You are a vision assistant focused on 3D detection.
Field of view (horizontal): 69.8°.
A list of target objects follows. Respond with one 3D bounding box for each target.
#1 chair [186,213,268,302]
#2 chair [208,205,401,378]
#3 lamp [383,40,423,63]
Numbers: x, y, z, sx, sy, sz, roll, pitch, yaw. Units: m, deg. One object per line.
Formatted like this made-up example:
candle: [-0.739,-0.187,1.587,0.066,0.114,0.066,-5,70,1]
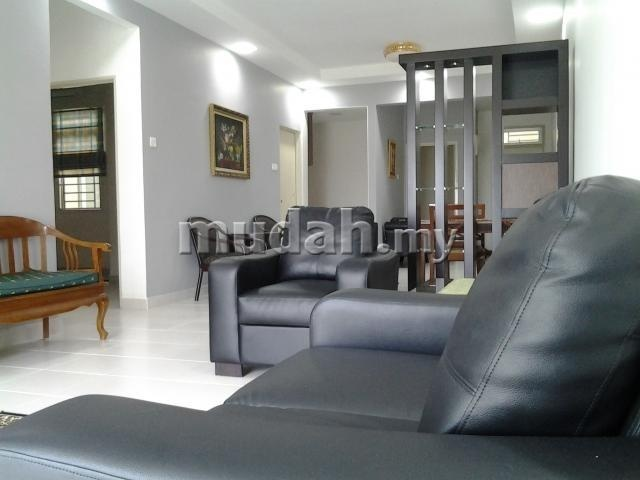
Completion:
chair: [-1.173,0.221,5.624,0.759,1.040,0.775,0,5,-6]
chair: [-0.035,0.295,3.058,1.370,1.042,1.384,-3,5,-27]
lamp: [1.012,-2.447,5.827,0.346,0.281,0.519,-4,3,-17]
